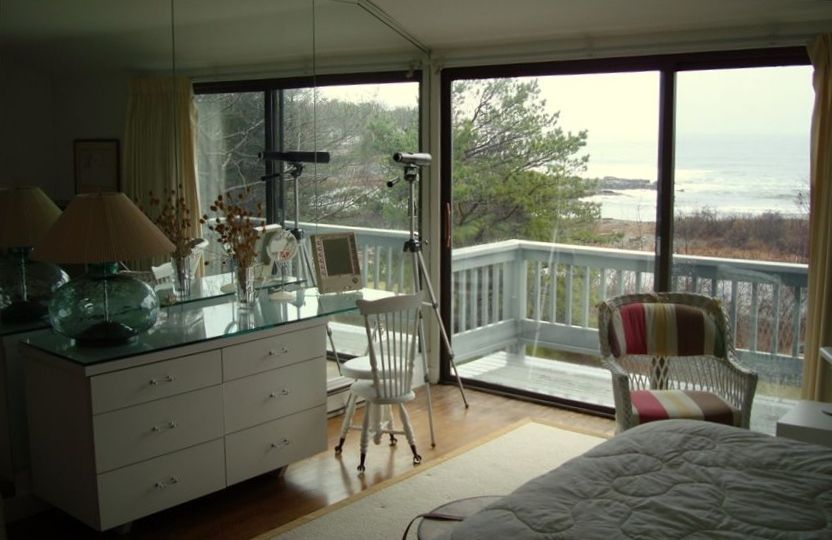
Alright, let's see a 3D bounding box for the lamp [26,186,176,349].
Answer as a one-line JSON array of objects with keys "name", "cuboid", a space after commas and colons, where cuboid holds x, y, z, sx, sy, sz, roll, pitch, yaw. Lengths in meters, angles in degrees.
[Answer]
[{"name": "lamp", "cuboid": [-1.881, -0.019, 3.647, 0.686, 0.896, 0.754, -3, 5, -15]}]
